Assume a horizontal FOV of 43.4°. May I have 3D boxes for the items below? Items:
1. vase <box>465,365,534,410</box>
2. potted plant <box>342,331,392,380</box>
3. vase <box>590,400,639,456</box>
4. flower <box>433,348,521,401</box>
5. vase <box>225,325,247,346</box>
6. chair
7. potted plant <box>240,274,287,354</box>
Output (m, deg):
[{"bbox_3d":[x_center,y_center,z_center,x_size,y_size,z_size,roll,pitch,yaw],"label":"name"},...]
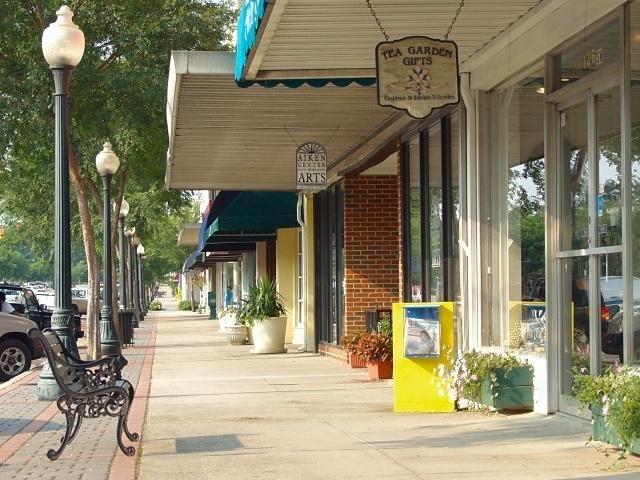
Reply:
[{"bbox_3d":[2.407,1.941,10.491,0.518,0.558,0.884,-1,-3,-15],"label":"vase"},{"bbox_3d":[0.893,2.058,14.724,0.695,0.691,0.928,4,-10,-16],"label":"potted plant"},{"bbox_3d":[3.082,1.823,8.330,0.330,0.356,0.664,-1,2,-7],"label":"vase"},{"bbox_3d":[2.066,1.753,10.604,0.668,0.572,0.821,-6,-1,-18],"label":"flower"},{"bbox_3d":[-2.443,2.787,23.358,0.521,0.428,0.548,2,-7,-25],"label":"vase"},{"bbox_3d":[-2.554,1.692,8.952,1.056,1.472,0.873,-1,-6,-11],"label":"chair"},{"bbox_3d":[-1.373,2.017,20.857,1.412,2.445,1.518,0,-1,-2],"label":"potted plant"}]
